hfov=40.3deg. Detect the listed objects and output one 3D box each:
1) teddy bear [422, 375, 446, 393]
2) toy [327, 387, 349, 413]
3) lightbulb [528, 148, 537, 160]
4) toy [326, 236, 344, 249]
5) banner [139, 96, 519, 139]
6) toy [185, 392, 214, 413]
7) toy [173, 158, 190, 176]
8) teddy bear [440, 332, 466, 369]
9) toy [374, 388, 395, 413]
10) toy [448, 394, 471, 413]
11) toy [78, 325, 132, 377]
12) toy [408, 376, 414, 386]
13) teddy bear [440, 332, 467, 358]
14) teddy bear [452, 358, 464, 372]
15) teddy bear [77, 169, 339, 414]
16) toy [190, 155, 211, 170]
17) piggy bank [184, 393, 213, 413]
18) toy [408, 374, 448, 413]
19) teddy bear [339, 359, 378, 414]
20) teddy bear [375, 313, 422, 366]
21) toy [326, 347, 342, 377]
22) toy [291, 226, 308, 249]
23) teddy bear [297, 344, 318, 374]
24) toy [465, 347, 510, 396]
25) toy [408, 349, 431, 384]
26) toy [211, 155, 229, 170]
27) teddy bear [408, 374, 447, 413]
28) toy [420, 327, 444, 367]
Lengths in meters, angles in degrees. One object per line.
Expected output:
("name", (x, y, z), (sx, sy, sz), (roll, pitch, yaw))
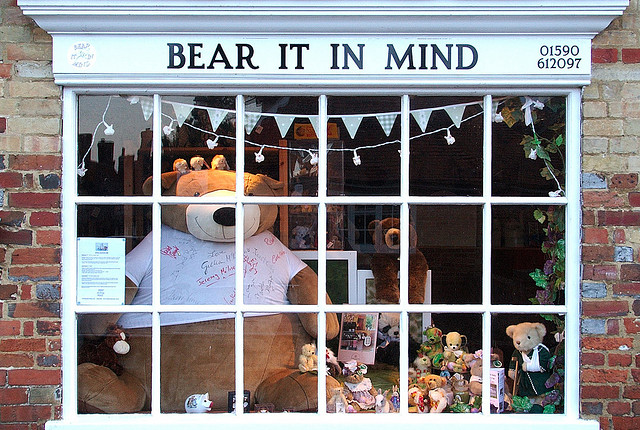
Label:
("teddy bear", (0.791, 1.159, 5.951), (0.174, 0.095, 0.116), (0, 72, 4))
("toy", (0.126, 1.276, 6.024), (0.121, 0.169, 0.167), (3, 83, -4))
("lightbulb", (1.446, -0.408, 5.940), (0.050, 0.026, 0.061), (4, 94, 18))
("toy", (0.110, 0.193, 5.982), (0.114, 0.044, 0.078), (1, 71, -8))
("banner", (0.084, -0.615, 5.905), (2.522, 0.019, 0.297), (-5, 72, -5))
("toy", (-0.814, 1.283, 5.948), (0.165, 0.100, 0.116), (2, 41, 8))
("toy", (-0.950, -0.332, 6.045), (0.113, 0.082, 0.107), (-20, 102, 7))
("teddy bear", (0.938, 0.937, 6.017), (0.195, 0.188, 0.225), (-3, 94, 8))
("toy", (0.444, 1.269, 5.971), (0.130, 0.035, 0.159), (-2, 71, -9))
("toy", (0.963, 1.292, 5.969), (0.131, 0.045, 0.120), (5, 70, -6))
("toy", (-1.448, 0.905, 5.932), (0.312, 0.117, 0.303), (18, 69, -2))
("toy", (0.631, 1.143, 6.014), (0.036, 0.017, 0.045), (6, 85, -1))
("teddy bear", (0.935, 0.892, 6.010), (0.198, 0.082, 0.169), (0, 93, 6))
("teddy bear", (0.962, 1.039, 6.008), (0.068, 0.040, 0.086), (-12, 76, 37))
("teddy bear", (-0.766, 0.478, 6.165), (2.036, 1.100, 1.722), (3, 95, -24))
("toy", (-0.827, -0.356, 6.022), (0.128, 0.054, 0.085), (-6, 72, -10))
("piggy bank", (-0.818, 1.285, 5.944), (0.160, 0.119, 0.101), (2, 118, 10))
("toy", (0.776, 1.202, 6.052), (0.341, 0.197, 0.306), (-1, 79, 13))
("teddy bear", (0.285, 1.184, 6.022), (0.292, 0.240, 0.309), (-4, 80, -11))
("teddy bear", (0.549, 0.862, 6.003), (0.305, 0.191, 0.339), (5, 70, -7))
("toy", (0.094, 1.020, 6.024), (0.079, 0.182, 0.110), (-9, 34, 21))
("toy", (-0.135, 0.157, 6.053), (0.152, 0.036, 0.130), (0, 101, 6))
("teddy bear", (-0.073, 1.003, 6.075), (0.151, 0.175, 0.208), (19, 79, -4))
("toy", (1.154, 1.079, 5.973), (0.257, 0.135, 0.310), (-7, 72, -11))
("toy", (0.708, 1.060, 6.075), (0.162, 0.167, 0.251), (-9, 84, -15))
("toy", (-0.684, -0.357, 6.007), (0.114, 0.090, 0.116), (0, 95, -23))
("teddy bear", (0.750, 1.233, 5.999), (0.291, 0.162, 0.251), (-3, 100, 15))
("toy", (0.805, 0.915, 6.035), (0.187, 0.214, 0.266), (-5, 83, -7))
